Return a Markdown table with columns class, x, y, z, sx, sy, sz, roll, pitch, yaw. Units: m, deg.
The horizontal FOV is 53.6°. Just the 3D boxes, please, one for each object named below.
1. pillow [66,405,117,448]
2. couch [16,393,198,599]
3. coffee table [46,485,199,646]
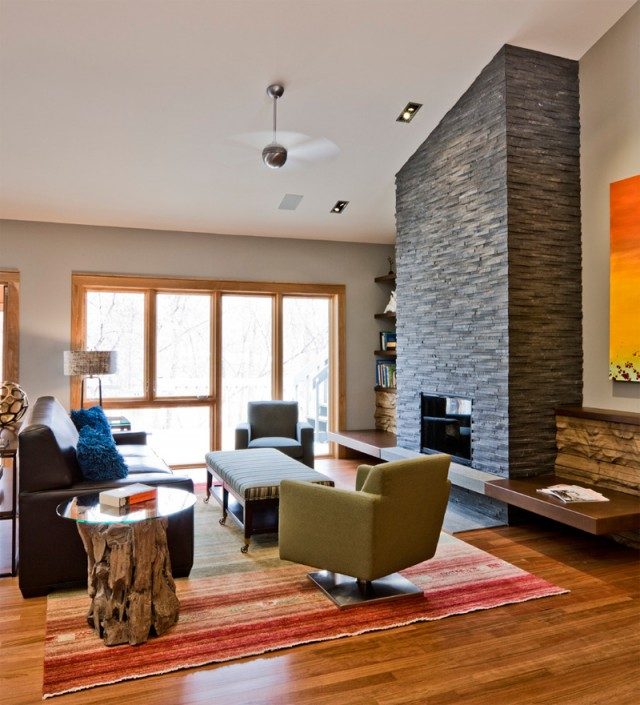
| class | x | y | z | sx | sy | sz | roll | pitch | yaw |
| --- | --- | --- | --- | --- | --- | --- | --- | --- | --- |
| pillow | -1.505 | 0.471 | 4.258 | 0.261 | 0.091 | 0.391 | -1 | 16 | -34 |
| couch | -1.251 | 0.769 | 3.720 | 0.963 | 0.723 | 1.629 | -1 | 1 | -21 |
| coffee table | -0.891 | 0.973 | 2.944 | 0.603 | 0.610 | 0.475 | 0 | 2 | -10 |
